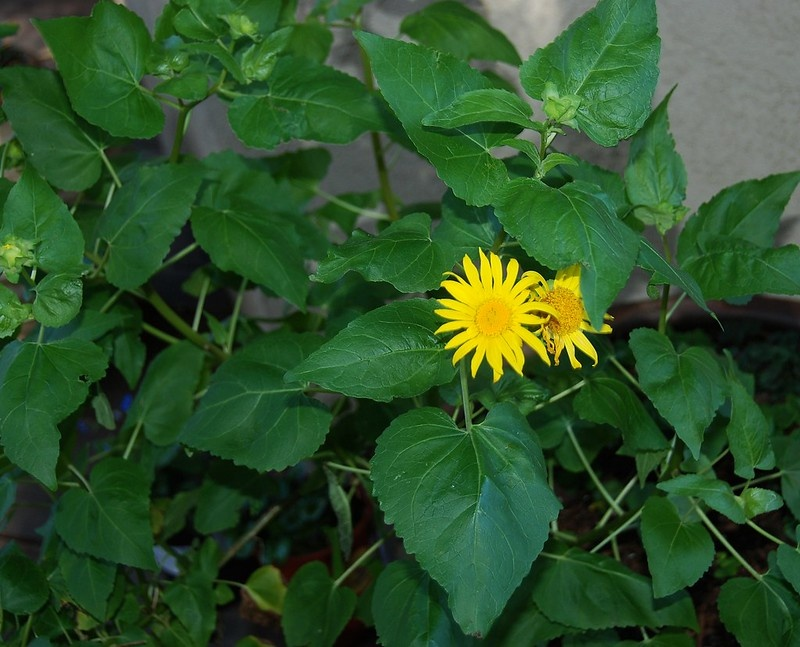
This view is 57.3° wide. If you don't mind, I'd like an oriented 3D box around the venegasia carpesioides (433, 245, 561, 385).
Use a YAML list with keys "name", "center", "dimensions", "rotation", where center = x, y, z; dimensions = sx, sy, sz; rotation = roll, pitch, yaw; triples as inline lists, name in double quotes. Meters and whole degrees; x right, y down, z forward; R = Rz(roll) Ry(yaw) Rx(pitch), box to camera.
- name: "venegasia carpesioides"
  center: [0.102, -0.012, 0.787]
  dimensions: [0.124, 0.119, 0.073]
  rotation: [8, 18, 7]

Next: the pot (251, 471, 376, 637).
- name: "pot"
  center: [-0.117, 0.359, 1.195]
  dimensions: [0.196, 0.248, 0.234]
  rotation: [-10, 61, 7]

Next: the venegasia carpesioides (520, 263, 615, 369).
- name: "venegasia carpesioides"
  center: [0.198, -0.011, 0.874]
  dimensions: [0.125, 0.042, 0.135]
  rotation: [5, 44, 30]
